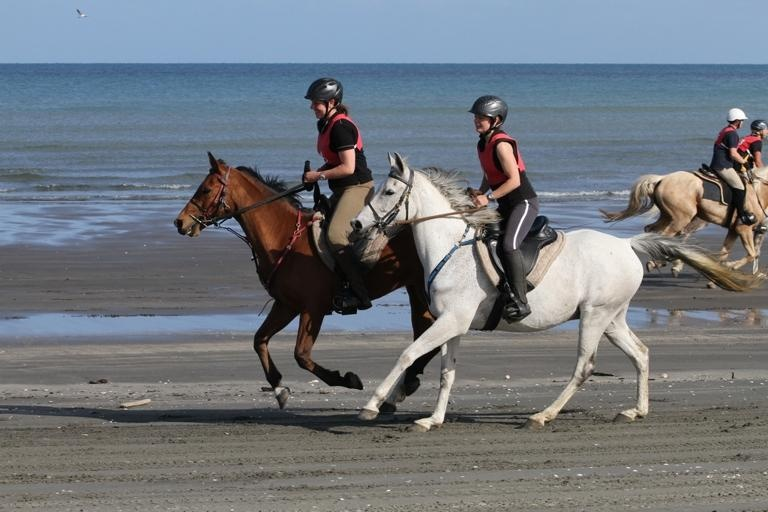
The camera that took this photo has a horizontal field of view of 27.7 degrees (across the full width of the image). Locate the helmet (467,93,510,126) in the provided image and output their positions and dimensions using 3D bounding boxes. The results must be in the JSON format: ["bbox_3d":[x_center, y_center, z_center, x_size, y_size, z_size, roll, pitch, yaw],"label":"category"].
[{"bbox_3d":[1.823,-2.467,26.022,0.663,0.388,0.465,-17,24,-17],"label":"helmet"}]

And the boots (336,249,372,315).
[{"bbox_3d":[-0.507,0.387,26.515,0.296,0.946,0.674,-26,11,-19],"label":"boots"}]

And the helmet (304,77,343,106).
[{"bbox_3d":[-0.959,-2.805,26.512,0.666,0.277,0.429,0,7,-30],"label":"helmet"}]

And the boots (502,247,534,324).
[{"bbox_3d":[2.148,0.507,25.771,0.439,1.192,0.341,-6,17,7],"label":"boots"}]

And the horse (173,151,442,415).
[{"bbox_3d":[-0.190,0.377,26.380,7.193,3.827,1.715,1,7,29],"label":"horse"}]
